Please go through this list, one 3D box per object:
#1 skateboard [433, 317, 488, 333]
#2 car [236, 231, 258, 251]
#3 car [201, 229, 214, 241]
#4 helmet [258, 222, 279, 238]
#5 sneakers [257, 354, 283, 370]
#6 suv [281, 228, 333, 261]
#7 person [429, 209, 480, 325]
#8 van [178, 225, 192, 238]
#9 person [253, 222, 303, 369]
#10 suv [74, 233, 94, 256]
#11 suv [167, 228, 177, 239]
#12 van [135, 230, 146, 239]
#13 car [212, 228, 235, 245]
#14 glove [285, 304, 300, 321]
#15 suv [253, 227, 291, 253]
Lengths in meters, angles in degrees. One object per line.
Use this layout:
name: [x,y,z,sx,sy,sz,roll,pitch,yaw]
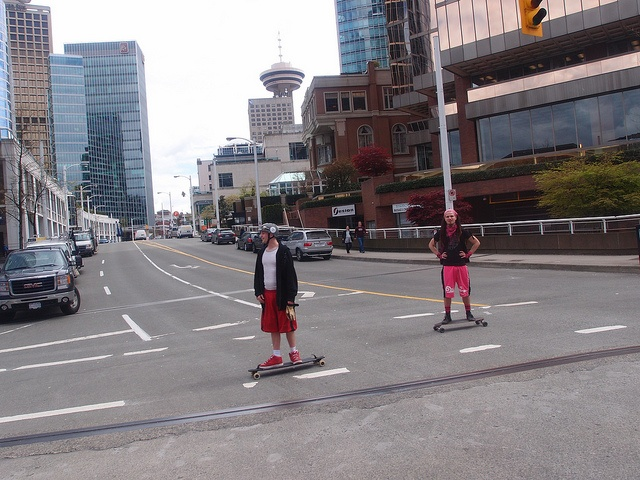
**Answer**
skateboard: [2.775,1.639,10.866,1.065,0.145,0.393,-6,12,-12]
car: [-5.783,0.064,42.923,1.081,0.823,2.409,-1,6,-17]
car: [-12.633,-0.626,61.299,1.304,0.958,2.846,-1,6,-13]
helmet: [-0.816,-0.168,8.809,0.233,0.183,0.225,-20,12,-11]
sneakers: [-0.797,1.947,8.721,0.470,0.199,0.157,-1,-4,-7]
suv: [-0.870,0.139,32.113,1.412,1.165,3.035,-1,5,-23]
person: [2.702,0.526,10.992,0.907,2.323,1.303,-3,4,15]
van: [-19.872,-1.440,80.440,1.413,1.229,2.366,-3,14,-18]
person: [-0.722,0.880,8.880,0.707,2.347,0.661,-5,4,-7]
suv: [-18.875,0.251,43.657,1.943,1.846,3.798,-1,-1,-13]
suv: [-23.249,-1.321,86.773,1.383,1.171,2.376,-1,6,-18]
van: [-28.536,-0.947,87.122,1.267,1.120,2.202,-3,8,-21]
car: [-9.505,-0.439,54.171,2.076,1.491,3.393,-5,3,-13]
glove: [-0.477,1.165,8.828,0.206,0.281,0.113,-31,2,-21]
suv: [-2.900,-0.192,37.402,1.926,1.780,3.431,-3,10,-36]
